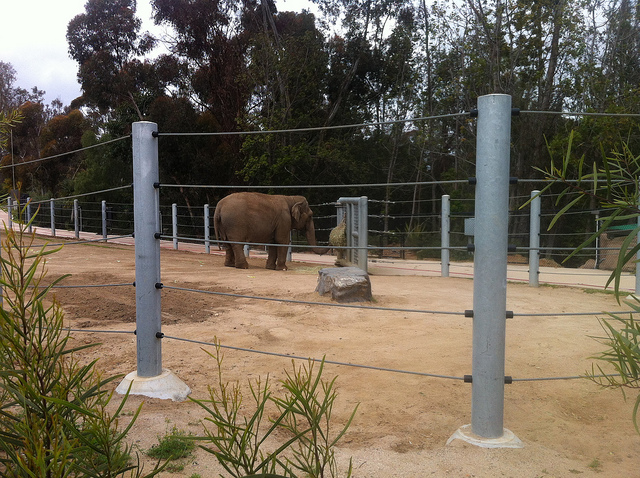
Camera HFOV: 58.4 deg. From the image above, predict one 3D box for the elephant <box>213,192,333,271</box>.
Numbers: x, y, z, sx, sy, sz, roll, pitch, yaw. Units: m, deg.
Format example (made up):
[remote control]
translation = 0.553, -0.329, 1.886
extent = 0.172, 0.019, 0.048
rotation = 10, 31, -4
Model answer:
[elephant]
translation = -0.952, -0.148, 11.105
extent = 2.068, 1.557, 0.906
rotation = 1, 11, -21
